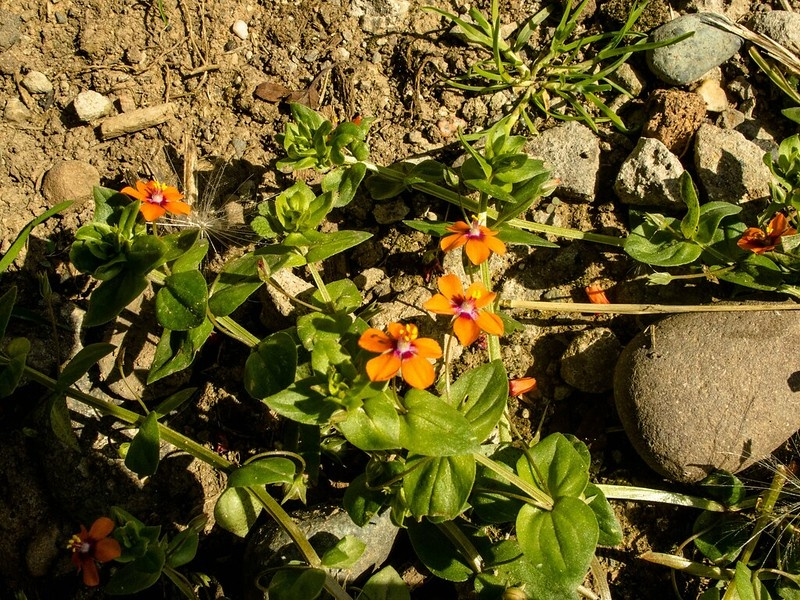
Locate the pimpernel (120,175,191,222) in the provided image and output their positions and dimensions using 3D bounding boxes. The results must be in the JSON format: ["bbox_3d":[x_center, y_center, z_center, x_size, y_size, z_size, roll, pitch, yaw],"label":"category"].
[{"bbox_3d":[-1.390,-0.574,4.506,0.348,0.236,0.378,0,48,-26],"label":"pimpernel"}]

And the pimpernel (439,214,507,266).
[{"bbox_3d":[0.427,-0.346,4.537,0.344,0.182,0.315,28,42,1],"label":"pimpernel"}]

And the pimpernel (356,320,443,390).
[{"bbox_3d":[0.020,0.279,4.197,0.351,0.137,0.393,-28,75,-19],"label":"pimpernel"}]

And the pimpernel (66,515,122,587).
[{"bbox_3d":[-1.738,1.362,4.339,0.152,0.343,0.352,37,68,-35],"label":"pimpernel"}]

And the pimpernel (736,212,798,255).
[{"bbox_3d":[2.154,-0.386,4.630,0.121,0.250,0.276,30,54,-24],"label":"pimpernel"}]
